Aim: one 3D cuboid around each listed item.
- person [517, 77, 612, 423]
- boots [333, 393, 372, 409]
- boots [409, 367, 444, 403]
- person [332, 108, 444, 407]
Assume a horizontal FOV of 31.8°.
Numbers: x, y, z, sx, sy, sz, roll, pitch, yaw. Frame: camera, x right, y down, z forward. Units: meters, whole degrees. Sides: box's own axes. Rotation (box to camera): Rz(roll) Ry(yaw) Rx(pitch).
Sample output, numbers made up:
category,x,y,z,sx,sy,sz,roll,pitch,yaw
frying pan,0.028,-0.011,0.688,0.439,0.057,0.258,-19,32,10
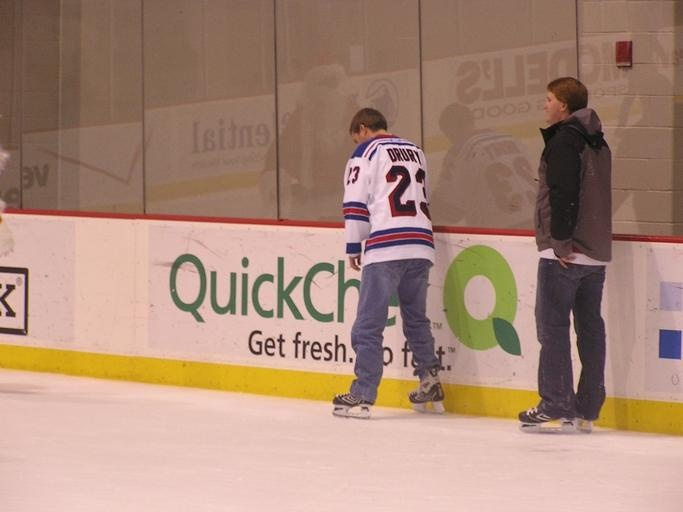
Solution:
category,x,y,z,sx,sy,sz,roll,pitch,yaw
person,1.573,0.109,8.307,0.560,2.215,0.527,2,14,10
boots,0.104,1.048,8.730,0.318,0.136,0.109,5,-2,7
boots,0.622,0.963,8.859,0.154,0.305,0.297,19,-20,-38
person,0.357,0.148,8.744,0.772,1.982,0.631,-1,14,-1
